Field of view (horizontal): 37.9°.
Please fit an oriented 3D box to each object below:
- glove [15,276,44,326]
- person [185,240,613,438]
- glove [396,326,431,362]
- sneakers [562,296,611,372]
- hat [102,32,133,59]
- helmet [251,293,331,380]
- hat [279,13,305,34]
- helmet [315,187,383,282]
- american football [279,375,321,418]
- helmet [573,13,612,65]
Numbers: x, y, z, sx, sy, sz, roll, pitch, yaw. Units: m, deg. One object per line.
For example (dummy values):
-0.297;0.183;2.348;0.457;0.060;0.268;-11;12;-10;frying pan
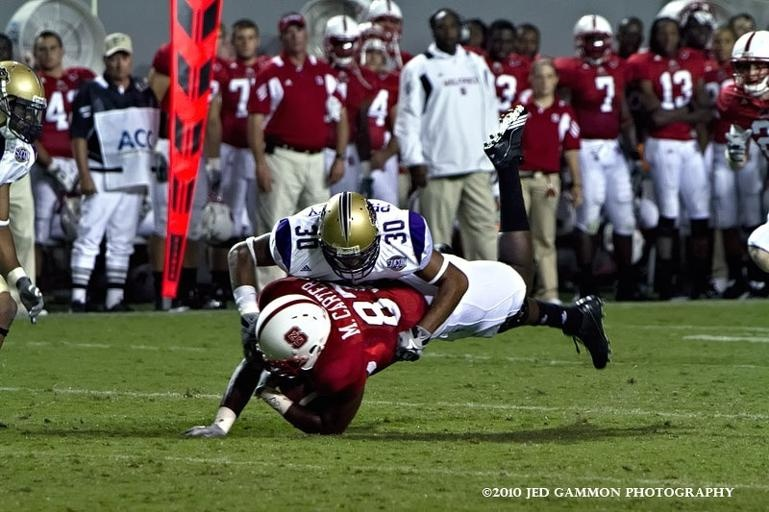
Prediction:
-2.004;0.229;6.343;0.113;0.251;0.193;-20;5;-17;glove
0.196;0.382;6.588;2.689;0.880;0.801;-9;21;-34;person
0.150;0.442;6.006;0.146;0.182;0.078;29;-26;-8;glove
1.266;0.456;7.097;0.255;0.550;0.194;-19;7;-19;sneakers
-1.873;-1.484;7.877;0.185;0.202;0.374;-1;2;-14;hat
-0.469;0.375;5.832;0.407;0.351;0.324;-21;9;-21;helmet
-0.740;-1.854;8.943;0.191;0.178;0.286;-1;2;-11;hat
-0.169;-0.120;6.054;0.312;0.434;0.359;-4;-17;3;helmet
-0.488;0.726;6.218;0.106;0.248;0.179;-15;20;-12;american football
1.821;-1.875;9.898;0.319;0.442;0.398;-1;-32;7;helmet
